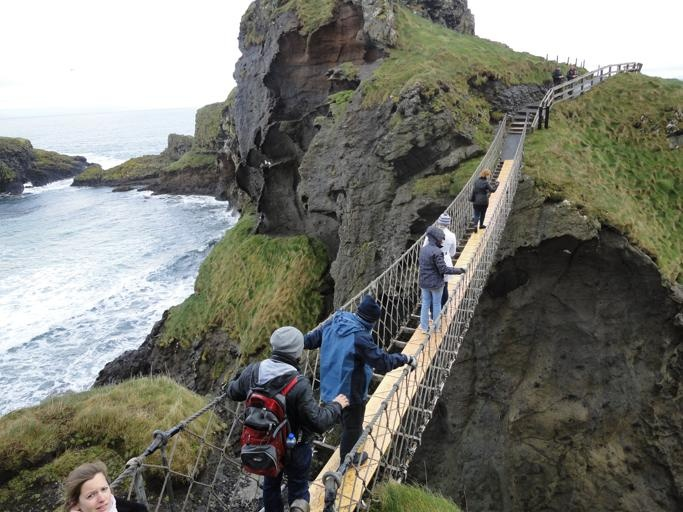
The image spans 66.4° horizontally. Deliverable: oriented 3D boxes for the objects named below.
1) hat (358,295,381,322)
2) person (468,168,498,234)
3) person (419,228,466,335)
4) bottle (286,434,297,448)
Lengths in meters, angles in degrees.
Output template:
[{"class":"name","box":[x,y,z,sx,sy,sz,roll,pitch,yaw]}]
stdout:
[{"class":"hat","box":[0.429,0.799,8.260,0.302,0.336,0.424,6,10,-9]},{"class":"person","box":[3.604,-1.455,13.348,0.595,1.652,1.116,8,17,16]},{"class":"person","box":[1.842,0.537,10.281,0.684,2.151,0.897,-7,19,-31]},{"class":"bottle","box":[-0.672,2.605,7.331,0.167,0.176,0.184,-5,56,7]}]
